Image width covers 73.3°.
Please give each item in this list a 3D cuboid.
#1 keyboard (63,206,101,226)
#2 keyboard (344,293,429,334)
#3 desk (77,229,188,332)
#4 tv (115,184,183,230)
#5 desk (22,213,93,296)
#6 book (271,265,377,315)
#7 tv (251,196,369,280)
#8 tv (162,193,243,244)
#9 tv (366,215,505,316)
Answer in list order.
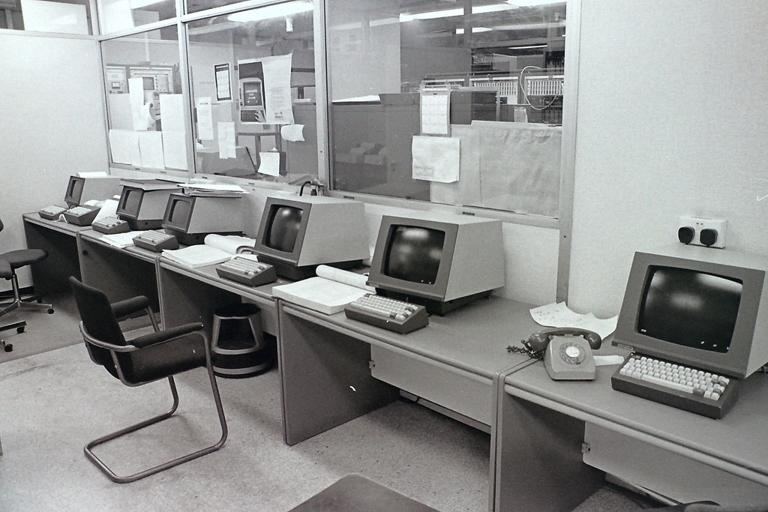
[{"bbox_3d":[-2.664,-0.363,4.571,0.296,0.119,0.213,8,26,25],"label":"keyboard"},{"bbox_3d":[0.005,0.274,2.474,0.375,0.104,0.169,11,18,36],"label":"keyboard"},{"bbox_3d":[-1.843,0.158,3.751,0.784,0.571,0.452,12,13,43],"label":"desk"},{"bbox_3d":[-1.957,-0.436,4.282,0.419,0.376,0.525,-6,14,-43],"label":"tv"},{"bbox_3d":[-3.068,-0.040,4.785,0.334,0.691,0.727,-4,14,-44],"label":"desk"},{"bbox_3d":[-0.300,0.188,2.776,0.328,0.078,0.307,12,17,41],"label":"book"},{"bbox_3d":[-0.462,-0.185,3.254,0.584,0.497,0.544,-7,13,-37],"label":"tv"},{"bbox_3d":[-1.377,-0.329,3.945,0.468,0.314,0.447,-3,10,-37],"label":"tv"},{"bbox_3d":[0.271,-0.037,2.720,0.571,0.438,0.545,-10,14,-41],"label":"tv"}]
